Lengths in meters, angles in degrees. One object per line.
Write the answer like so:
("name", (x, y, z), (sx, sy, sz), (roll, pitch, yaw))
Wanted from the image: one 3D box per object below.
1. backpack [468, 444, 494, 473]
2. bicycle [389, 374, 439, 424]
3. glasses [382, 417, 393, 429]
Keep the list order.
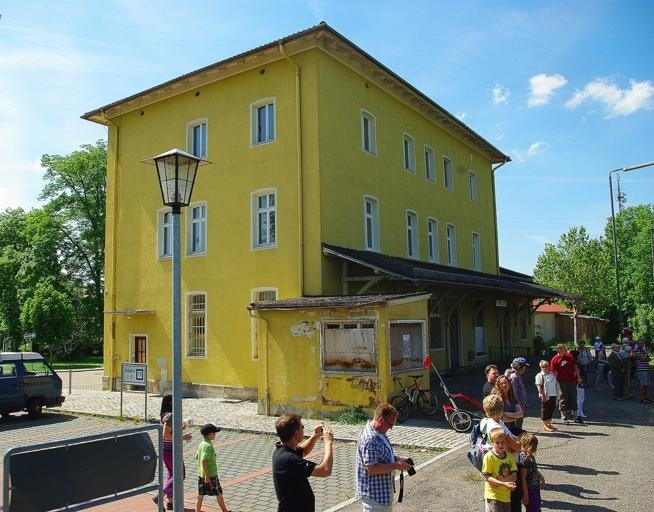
("backpack", (2.326, 3.079, 9.338), (0.305, 0.426, 0.400), (-24, 1, 28))
("bicycle", (2.392, 4.053, 17.044), (0.772, 1.124, 1.668), (-11, -4, 39))
("glasses", (0.871, 2.319, 8.405), (0.041, 0.147, 0.126), (22, -16, -41))
